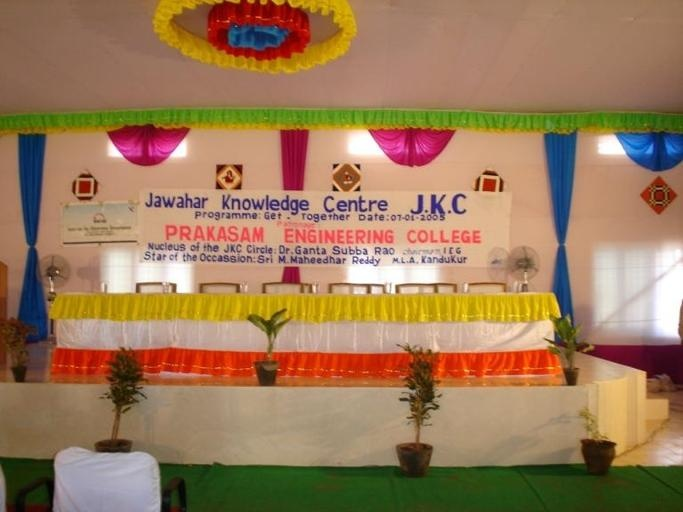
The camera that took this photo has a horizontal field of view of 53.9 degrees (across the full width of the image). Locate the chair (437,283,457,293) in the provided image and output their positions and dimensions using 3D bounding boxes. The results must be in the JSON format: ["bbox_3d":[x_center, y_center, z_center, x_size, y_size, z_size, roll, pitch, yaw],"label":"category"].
[{"bbox_3d":[1.733,0.499,11.073,0.347,0.190,0.244,-4,4,5],"label":"chair"}]

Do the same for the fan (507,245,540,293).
[{"bbox_3d":[3.201,0.143,11.860,0.575,0.627,0.203,1,-7,-27],"label":"fan"}]

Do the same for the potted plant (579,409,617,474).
[{"bbox_3d":[2.841,2.089,7.493,0.430,0.621,0.396,-5,-13,36],"label":"potted plant"}]

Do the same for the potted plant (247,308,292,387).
[{"bbox_3d":[-0.868,1.082,8.080,0.484,0.897,0.663,-2,-6,-7],"label":"potted plant"}]

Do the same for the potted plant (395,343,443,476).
[{"bbox_3d":[0.852,1.712,7.491,0.531,1.402,0.436,-3,-6,6],"label":"potted plant"}]
